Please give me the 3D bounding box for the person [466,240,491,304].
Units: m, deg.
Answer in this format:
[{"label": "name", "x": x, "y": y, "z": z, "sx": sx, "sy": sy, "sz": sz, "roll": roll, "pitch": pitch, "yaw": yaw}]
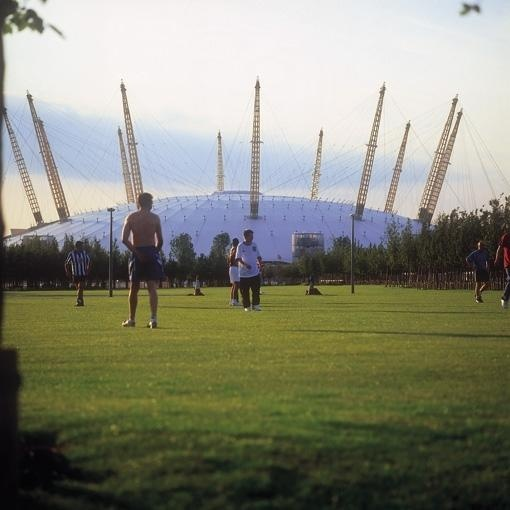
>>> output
[{"label": "person", "x": 5.802, "y": 0.459, "z": 20.126, "sx": 0.535, "sy": 1.624, "sz": 1.369, "roll": 0, "pitch": 0, "yaw": 17}]
